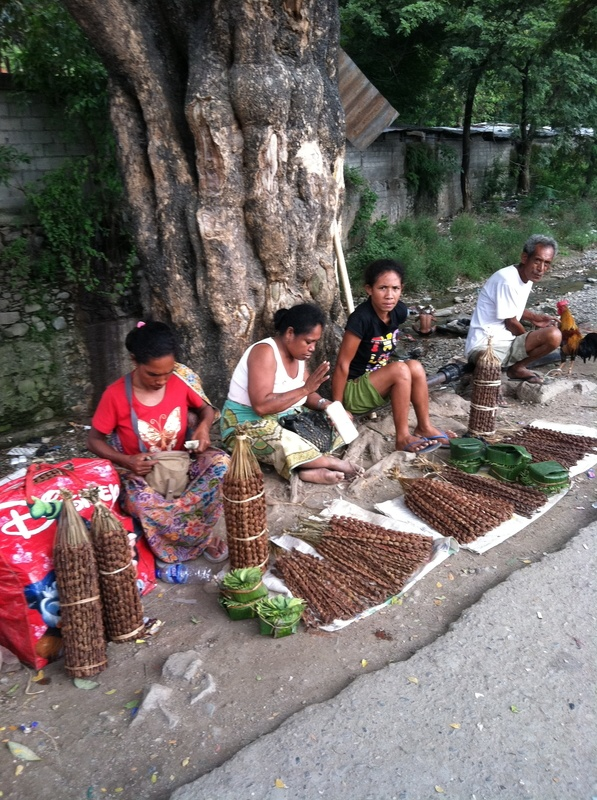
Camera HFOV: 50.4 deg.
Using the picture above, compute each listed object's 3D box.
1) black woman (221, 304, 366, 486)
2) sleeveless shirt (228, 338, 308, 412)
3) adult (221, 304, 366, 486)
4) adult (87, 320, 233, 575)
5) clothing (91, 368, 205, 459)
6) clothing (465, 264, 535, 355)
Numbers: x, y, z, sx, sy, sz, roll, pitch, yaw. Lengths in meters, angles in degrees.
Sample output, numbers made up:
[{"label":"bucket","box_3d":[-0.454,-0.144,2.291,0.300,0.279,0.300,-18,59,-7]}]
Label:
[{"label":"black woman","box_3d":[-0.016,-0.072,3.727,0.930,0.899,0.670,21,23,41]},{"label":"sleeveless shirt","box_3d":[-0.156,-0.164,3.817,0.436,0.435,0.481,11,25,19]},{"label":"adult","box_3d":[-0.002,-0.073,3.732,0.697,0.902,0.927,-10,23,-40]},{"label":"adult","box_3d":[-0.677,0.214,3.085,0.716,1.090,0.673,-7,27,-20]},{"label":"clothing","box_3d":[-0.717,0.084,3.125,0.465,0.336,0.196,-20,42,-32]},{"label":"clothing","box_3d":[1.604,-0.715,5.108,0.489,0.698,0.430,1,14,20]}]
